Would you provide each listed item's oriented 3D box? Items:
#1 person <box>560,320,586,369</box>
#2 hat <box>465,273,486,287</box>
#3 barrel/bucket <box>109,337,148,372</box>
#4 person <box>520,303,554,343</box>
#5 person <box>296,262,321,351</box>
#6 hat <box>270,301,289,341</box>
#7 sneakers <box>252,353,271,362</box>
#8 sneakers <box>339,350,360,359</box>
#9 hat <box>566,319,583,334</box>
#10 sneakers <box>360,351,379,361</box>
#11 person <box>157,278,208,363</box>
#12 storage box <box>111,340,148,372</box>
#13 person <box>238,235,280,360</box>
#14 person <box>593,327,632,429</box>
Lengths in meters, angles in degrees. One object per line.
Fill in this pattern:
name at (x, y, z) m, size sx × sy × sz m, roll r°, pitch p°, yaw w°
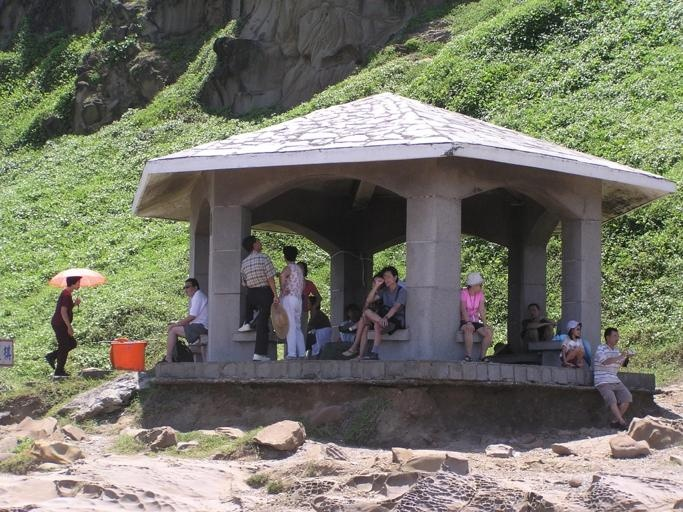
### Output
person at (5.639, 2.089, 27.786) m, size 0.474 × 1.099 × 0.995 m, roll -2°, pitch -5°, yaw 38°
hat at (3.157, 0.508, 27.350) m, size 0.309 × 0.336 × 0.319 m, roll 13°, pitch 5°, yaw 4°
barrel/bucket at (-5.413, 2.492, 29.191) m, size 0.699 × 0.685 × 0.755 m, roll -1°, pitch -10°, yaw 0°
person at (5.154, 1.859, 30.533) m, size 0.738 × 1.443 × 0.982 m, roll -3°, pitch -24°, yaw 2°
person at (-0.868, 1.357, 29.557) m, size 0.509 × 0.904 × 1.975 m, roll -7°, pitch -35°, yaw -7°
hat at (-1.424, 1.470, 27.040) m, size 0.346 × 0.827 × 0.502 m, roll 0°, pitch -4°, yaw 26°
sneakers at (-1.907, 2.371, 27.217) m, size 0.315 × 0.158 × 0.162 m, roll 2°, pitch -1°, yaw -13°
sneakers at (0.191, 2.320, 27.498) m, size 0.346 × 0.106 × 0.186 m, roll -1°, pitch 11°, yaw -24°
hat at (5.574, 1.643, 27.852) m, size 0.277 × 0.206 × 0.369 m, roll -12°, pitch -18°, yaw -3°
sneakers at (0.650, 2.309, 26.882) m, size 0.419 × 0.199 × 0.170 m, roll 4°, pitch -6°, yaw 8°
person at (-3.840, 1.538, 28.484) m, size 1.024 × 2.051 × 0.819 m, roll 3°, pitch -4°, yaw -19°
storage box at (-5.427, 2.545, 29.203) m, size 0.692 × 0.600 × 0.744 m, roll 2°, pitch -10°, yaw -15°
person at (-2.013, 0.956, 27.512) m, size 0.645 × 2.990 × 1.329 m, roll 5°, pitch -5°, yaw -41°
person at (6.329, 2.814, 26.956) m, size 0.874 × 2.290 × 0.737 m, roll 0°, pitch -4°, yaw 15°
